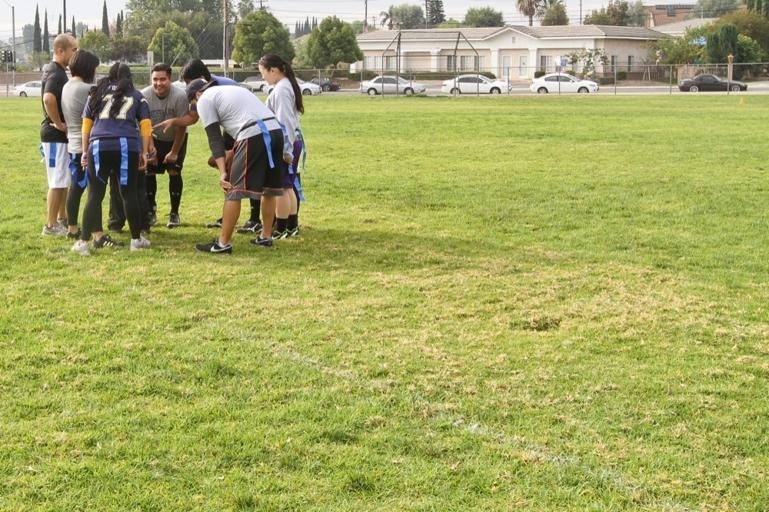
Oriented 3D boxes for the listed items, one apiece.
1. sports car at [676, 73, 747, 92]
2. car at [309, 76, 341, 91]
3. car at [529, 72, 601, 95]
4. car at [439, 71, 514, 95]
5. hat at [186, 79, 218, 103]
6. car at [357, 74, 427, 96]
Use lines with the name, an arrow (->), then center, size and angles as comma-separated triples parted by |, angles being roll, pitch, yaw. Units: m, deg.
sports car -> 16.464, -8.588, 44.652 | 3.019, 0.892, 1.349 | 1, 16, 11
car -> -3.644, -10.554, 54.451 | 1.944, 0.649, 0.893 | 2, 9, -6
car -> 9.494, -9.006, 46.579 | 1.893, 1.037, 3.516 | -5, 10, -30
car -> 4.811, -8.972, 46.666 | 3.201, 1.059, 2.584 | 0, 9, -1
hat -> -2.244, -2.034, 10.822 | 0.344, 0.196, 0.244 | -32, 14, 7
car -> 0.468, -9.188, 47.842 | 2.672, 1.135, 4.838 | -5, 10, -30
